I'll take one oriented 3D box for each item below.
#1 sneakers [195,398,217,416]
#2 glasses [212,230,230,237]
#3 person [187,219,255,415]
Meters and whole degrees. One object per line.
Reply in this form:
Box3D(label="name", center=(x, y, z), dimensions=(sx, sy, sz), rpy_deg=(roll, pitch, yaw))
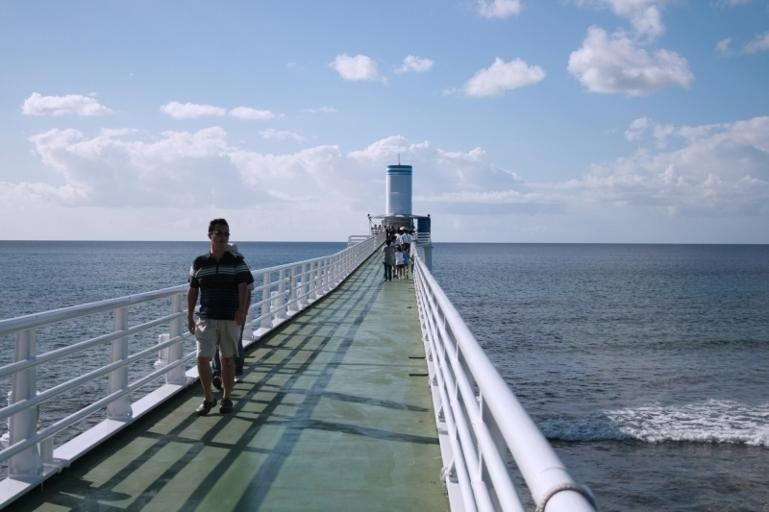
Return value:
Box3D(label="sneakers", center=(-2.339, 1.976, 7.957), dimensions=(0.127, 0.121, 0.318), rpy_deg=(-7, -1, 18))
Box3D(label="glasses", center=(-2.130, -0.288, 7.897), dimensions=(0.185, 0.098, 0.094), rpy_deg=(-1, 8, -24))
Box3D(label="person", center=(-2.142, 0.777, 7.969), dimensions=(0.839, 2.559, 0.880), rpy_deg=(0, 9, -17))
